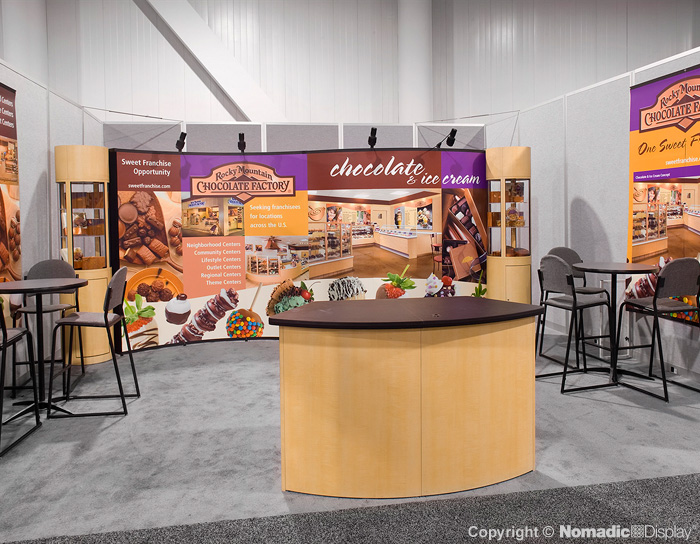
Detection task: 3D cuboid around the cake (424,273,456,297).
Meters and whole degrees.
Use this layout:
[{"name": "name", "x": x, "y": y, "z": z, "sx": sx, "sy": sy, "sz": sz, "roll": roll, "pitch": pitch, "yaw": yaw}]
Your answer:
[{"name": "cake", "x": 1.041, "y": 0.157, "z": 5.678, "sx": 0.281, "sy": 0.325, "sz": 0.190, "roll": -3, "pitch": 1, "yaw": -1}]

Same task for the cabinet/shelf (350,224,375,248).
[{"name": "cabinet/shelf", "x": 0.144, "y": -0.422, "z": 5.643, "sx": 0.229, "sy": 0.238, "sz": 0.079, "roll": -1, "pitch": 1, "yaw": -5}]

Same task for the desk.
[{"name": "desk", "x": 0.393, "y": 0.712, "z": 3.276, "sx": 1.563, "sy": 1.058, "sz": 1.299, "roll": -3, "pitch": 4, "yaw": -7}]

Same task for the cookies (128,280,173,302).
[{"name": "cookies", "x": -2.181, "y": 0.227, "z": 5.450, "sx": 0.314, "sy": 0.109, "sz": 0.202, "roll": 9, "pitch": 38, "yaw": -23}]
